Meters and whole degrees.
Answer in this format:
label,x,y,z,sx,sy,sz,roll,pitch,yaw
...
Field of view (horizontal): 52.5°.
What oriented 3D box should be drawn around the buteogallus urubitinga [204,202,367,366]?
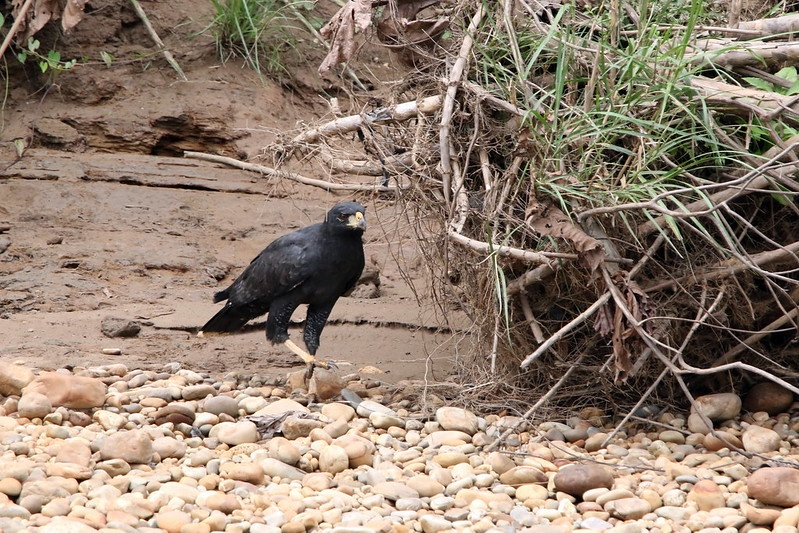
label,x,y,z,sx,sy,sz,roll,pitch,yaw
buteogallus urubitinga,-0.723,0.159,5.615,1.581,0.935,0.703,-1,-6,40
